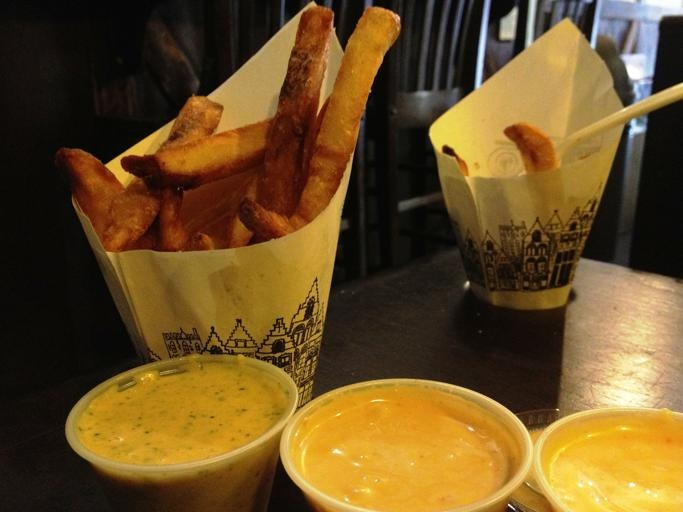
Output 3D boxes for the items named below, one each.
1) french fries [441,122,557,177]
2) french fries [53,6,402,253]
[{"bbox_3d":[0.325,-0.183,1.119,0.093,0.084,0.034,4,21,18],"label":"french fries"},{"bbox_3d":[-0.148,-0.179,0.920,0.426,0.309,0.312,-19,25,-36],"label":"french fries"}]
